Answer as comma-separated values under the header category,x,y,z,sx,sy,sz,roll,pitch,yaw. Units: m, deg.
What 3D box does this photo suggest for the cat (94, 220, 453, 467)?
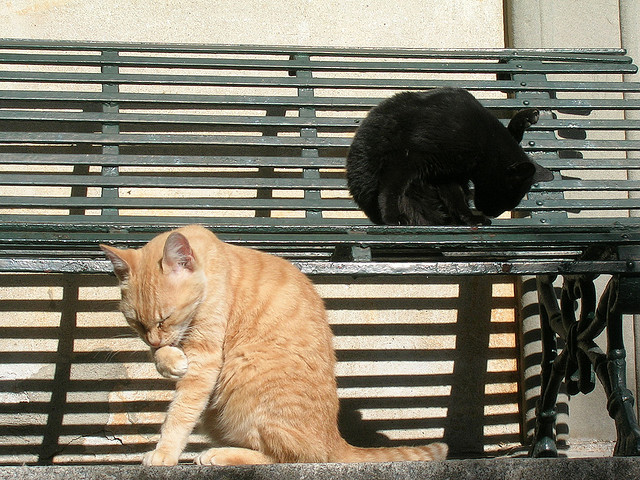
category,x,y,z,sx,sy,sz,roll,pitch,yaw
cat,-0.359,0.496,5.116,1.744,1.073,0.675,8,-12,-38

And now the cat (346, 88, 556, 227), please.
category,x,y,z,sx,sy,sz,roll,pitch,yaw
cat,0.675,-0.421,5.778,1.150,0.690,0.646,19,18,32
